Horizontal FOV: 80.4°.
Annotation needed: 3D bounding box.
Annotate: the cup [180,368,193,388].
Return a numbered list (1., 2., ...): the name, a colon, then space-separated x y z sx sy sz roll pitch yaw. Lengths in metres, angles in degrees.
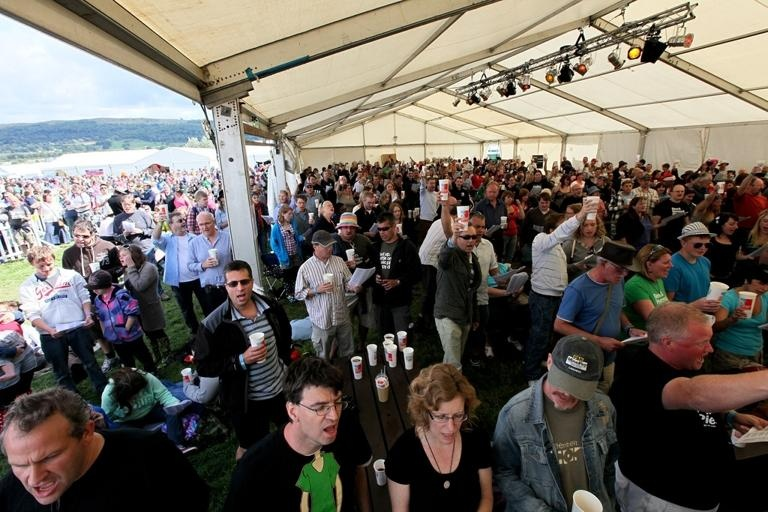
1. cup: -2.665 1.598 6.135 0.108 0.173 0.344 -9 14 -23

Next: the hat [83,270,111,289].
1. hat: -4.205 0.355 6.710 0.375 0.287 0.227 5 15 30

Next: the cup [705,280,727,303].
1. cup: 4.183 0.439 5.707 0.182 0.259 0.286 7 16 36

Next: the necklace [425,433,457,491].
1. necklace: 0.547 1.983 4.433 0.291 0.524 0.155 -2 13 5

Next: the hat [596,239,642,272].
1. hat: 2.805 -0.023 5.486 0.417 0.159 0.362 29 27 31

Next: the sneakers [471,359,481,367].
1. sneakers: 1.458 1.691 7.212 0.115 0.081 0.112 2 -5 -25

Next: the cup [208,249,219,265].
1. cup: -2.708 -0.009 7.202 0.145 0.257 0.358 -8 14 -21

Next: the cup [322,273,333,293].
1. cup: -0.790 0.353 6.356 0.157 0.219 0.140 1 14 18

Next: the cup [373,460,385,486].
1. cup: -0.025 2.290 4.832 0.214 0.215 0.216 -2 -6 0

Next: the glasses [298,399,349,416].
1. glasses: -0.593 1.410 4.250 0.395 0.133 0.107 -6 14 -17

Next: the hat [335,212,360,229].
1. hat: -0.583 -0.563 7.210 0.283 0.233 0.280 -1 13 6

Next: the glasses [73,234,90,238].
1. glasses: -4.815 -0.318 7.180 0.210 0.087 0.119 -2 13 4

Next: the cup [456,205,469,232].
1. cup: 1.006 -0.487 5.829 0.137 0.313 0.116 1 14 15

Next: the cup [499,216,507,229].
1. cup: 2.453 -0.699 9.276 0.224 0.230 0.222 -2 1 0

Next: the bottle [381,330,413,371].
1. bottle: 0.172 1.240 6.036 0.436 0.353 0.453 -2 1 0

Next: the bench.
1. bench: -0.054 1.938 5.522 1.039 0.574 2.386 -4 53 0

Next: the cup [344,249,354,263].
1. cup: -0.513 -0.038 6.943 0.128 0.176 0.248 -4 13 -5

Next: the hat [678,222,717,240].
1. hat: 4.224 -0.351 6.233 0.298 0.139 0.332 -3 5 8

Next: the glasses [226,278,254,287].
1. glasses: -1.677 0.303 5.259 0.271 0.091 0.075 -8 14 -21

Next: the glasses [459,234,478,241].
1. glasses: 1.111 -0.253 5.986 0.202 0.091 0.079 -4 13 -6

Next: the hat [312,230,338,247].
1. hat: -0.858 -0.248 6.398 0.281 0.146 0.207 7 16 30

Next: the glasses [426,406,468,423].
1. glasses: 0.624 1.534 4.384 0.383 0.122 0.087 -4 13 -7
